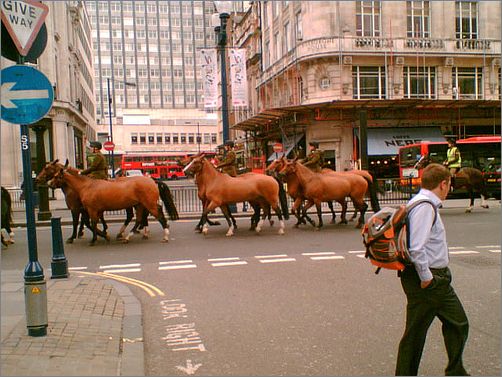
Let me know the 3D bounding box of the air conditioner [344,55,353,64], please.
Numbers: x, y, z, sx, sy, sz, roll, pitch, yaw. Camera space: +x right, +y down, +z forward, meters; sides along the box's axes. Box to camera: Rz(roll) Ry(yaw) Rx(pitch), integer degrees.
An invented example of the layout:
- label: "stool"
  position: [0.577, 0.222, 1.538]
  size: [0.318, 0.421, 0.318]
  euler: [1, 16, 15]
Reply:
- label: "air conditioner"
  position: [5.813, -7.676, 44.111]
  size: [0.566, 0.524, 0.247]
  euler: [-6, 11, -31]

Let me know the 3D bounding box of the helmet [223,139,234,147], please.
- label: "helmet"
  position: [-0.736, -1.516, 24.785]
  size: [0.263, 0.217, 0.201]
  euler: [15, 10, 26]

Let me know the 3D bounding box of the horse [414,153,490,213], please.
- label: "horse"
  position: [7.862, -0.212, 28.812]
  size: [2.860, 2.114, 0.719]
  euler: [7, -18, -5]

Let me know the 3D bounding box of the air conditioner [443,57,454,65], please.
- label: "air conditioner"
  position: [12.372, -7.900, 45.920]
  size: [0.667, 0.606, 0.391]
  euler: [-3, 9, -13]

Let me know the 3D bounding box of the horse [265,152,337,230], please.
- label: "horse"
  position: [2.112, 0.294, 25.297]
  size: [0.762, 2.398, 3.500]
  euler: [-3, -7, 37]

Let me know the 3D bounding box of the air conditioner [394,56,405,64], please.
- label: "air conditioner"
  position: [9.096, -7.844, 45.073]
  size: [0.529, 0.529, 0.389]
  euler: [0, 14, 3]
